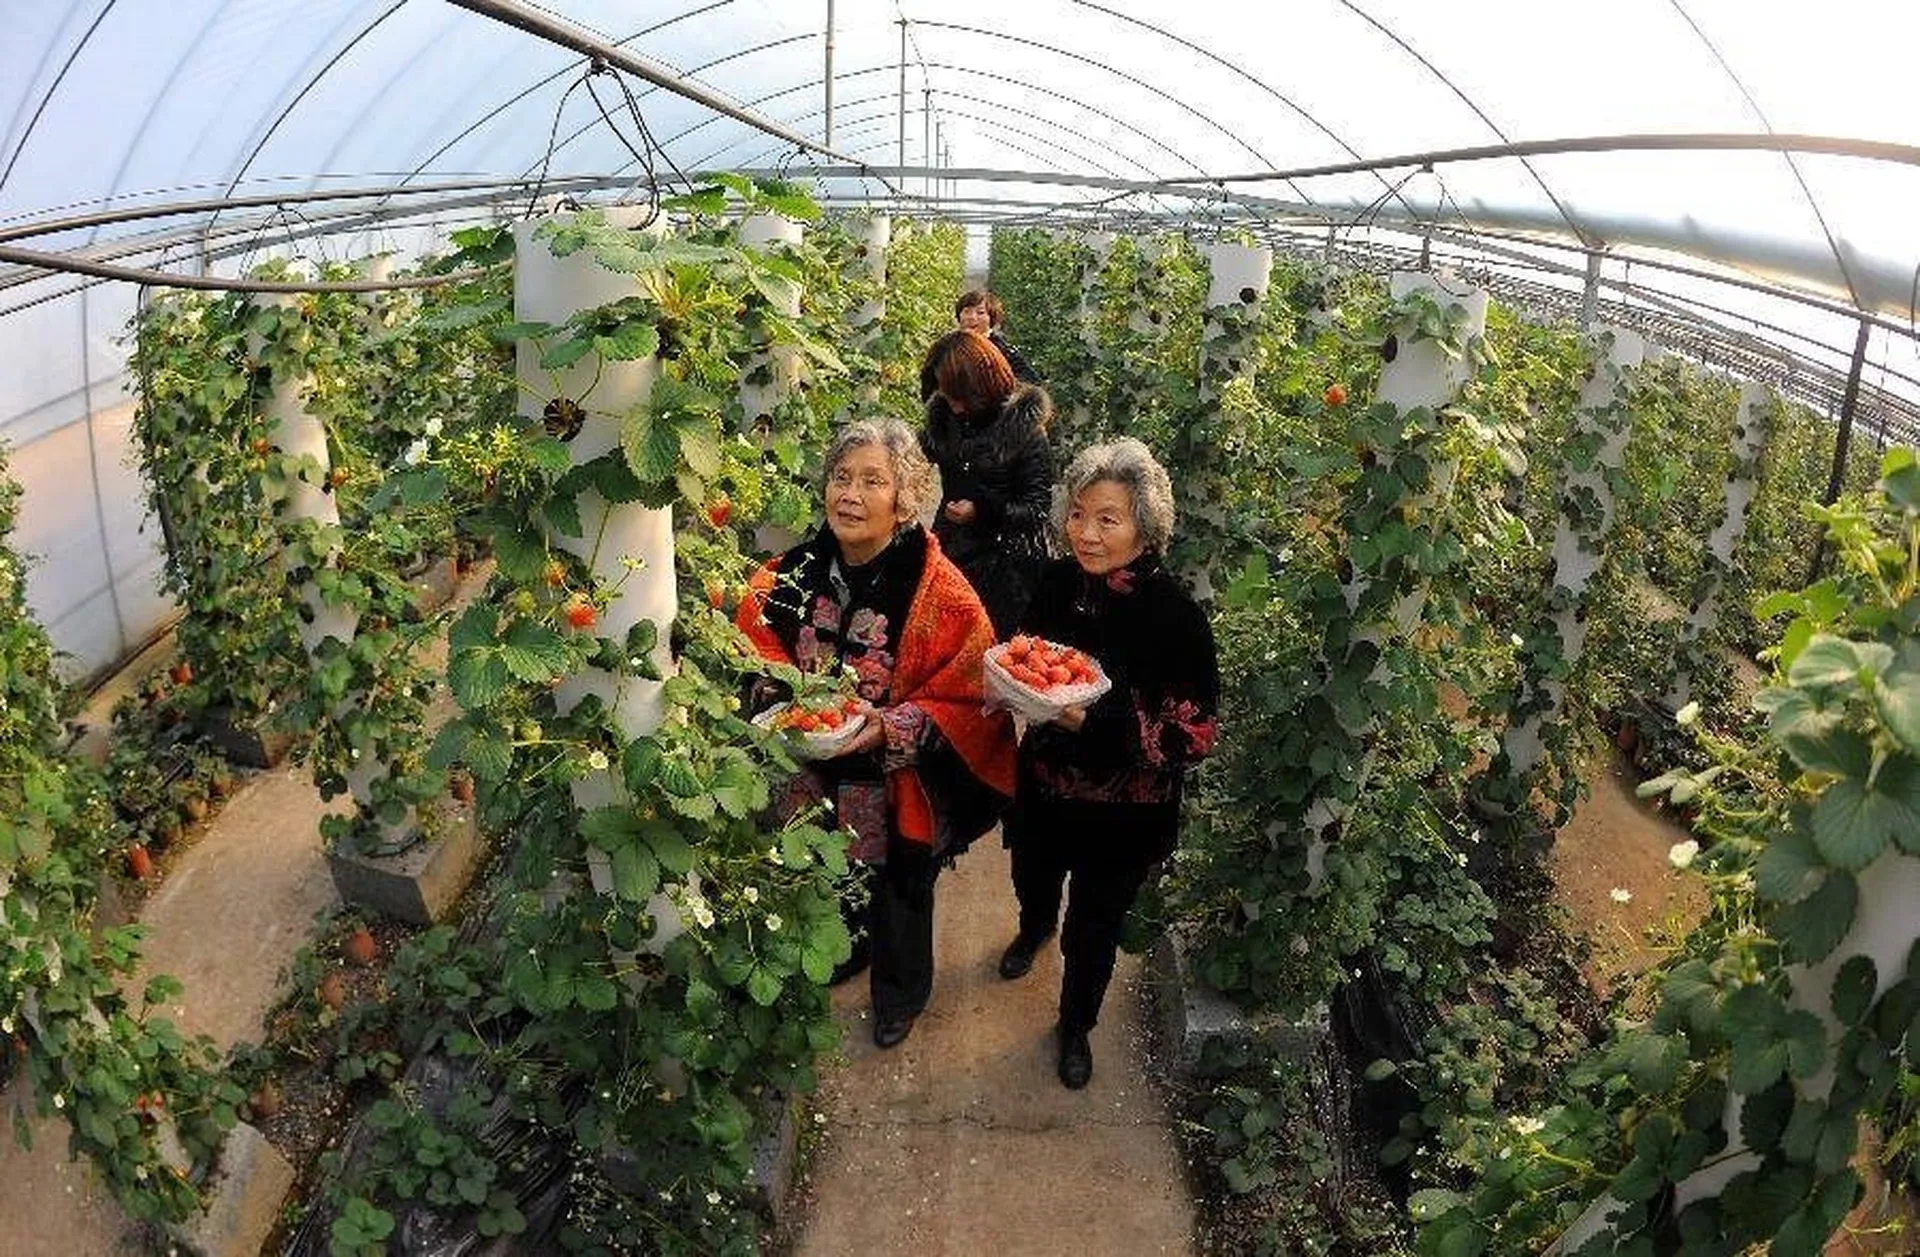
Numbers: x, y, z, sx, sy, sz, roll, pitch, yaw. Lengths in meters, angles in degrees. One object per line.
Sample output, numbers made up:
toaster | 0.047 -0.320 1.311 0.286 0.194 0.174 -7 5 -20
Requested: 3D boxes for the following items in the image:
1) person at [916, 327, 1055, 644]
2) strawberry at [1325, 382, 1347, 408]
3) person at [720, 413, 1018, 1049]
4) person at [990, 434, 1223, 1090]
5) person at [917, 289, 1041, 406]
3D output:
person | 0.001 -0.597 6.045 1.072 2.083 0.834 9 25 12
strawberry | 1.497 -0.923 4.190 0.090 0.091 0.118 -5 29 2
person | -0.354 0.415 4.731 1.142 2.573 0.914 -2 14 -14
person | 0.582 0.648 4.493 0.767 2.766 1.071 3 -4 -9
person | 0.097 -1.815 7.085 0.704 0.869 0.427 12 8 7
